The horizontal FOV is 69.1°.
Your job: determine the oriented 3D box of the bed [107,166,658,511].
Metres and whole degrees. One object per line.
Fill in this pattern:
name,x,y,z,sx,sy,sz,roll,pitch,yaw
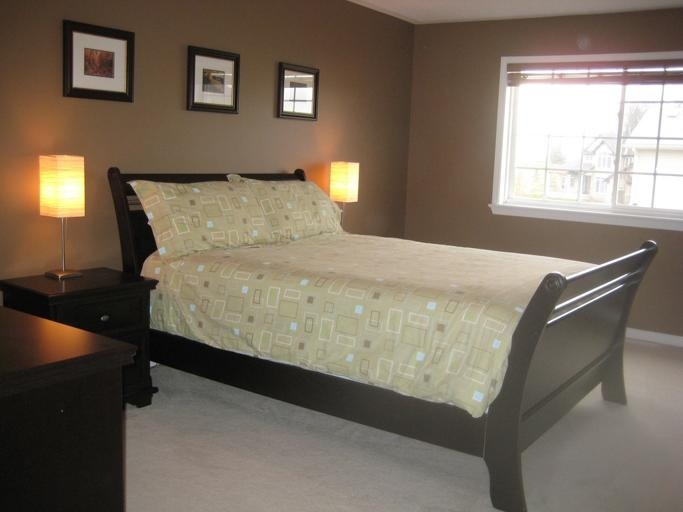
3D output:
bed,0.610,0.482,2.684,2.782,1.086,1.326,-1,11,-16

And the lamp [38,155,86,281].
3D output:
lamp,-1.640,-0.236,2.908,0.311,0.691,0.237,11,14,40
